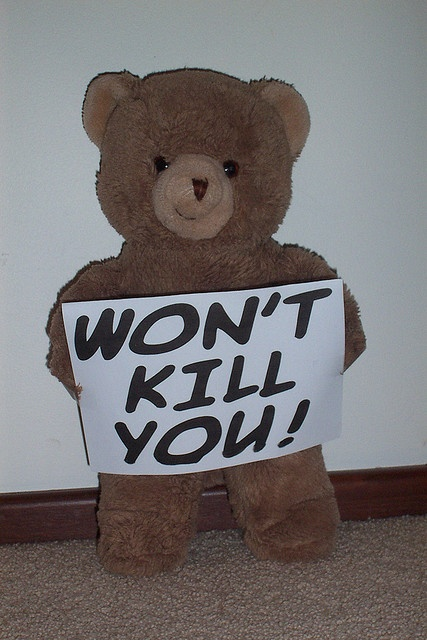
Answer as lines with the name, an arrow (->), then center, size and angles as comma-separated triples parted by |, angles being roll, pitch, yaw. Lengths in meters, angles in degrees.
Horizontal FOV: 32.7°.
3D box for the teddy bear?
teddy bear -> -0.023, 0.005, 1.005 | 0.494, 0.630, 0.353 | -1, 21, -9
